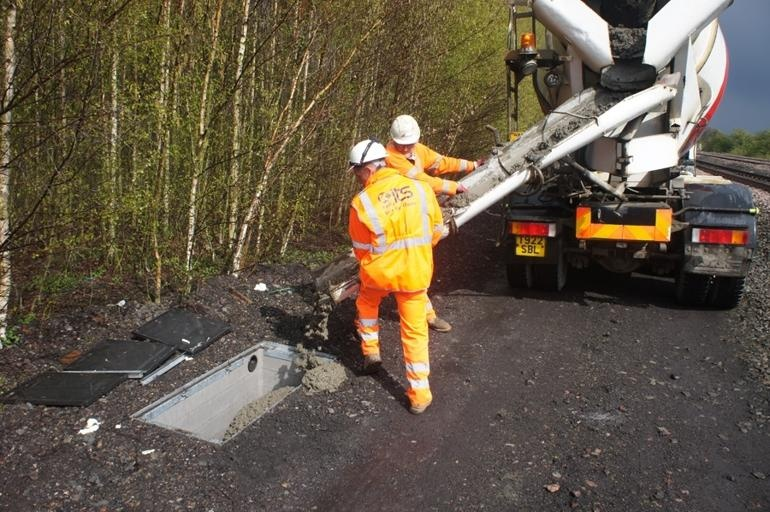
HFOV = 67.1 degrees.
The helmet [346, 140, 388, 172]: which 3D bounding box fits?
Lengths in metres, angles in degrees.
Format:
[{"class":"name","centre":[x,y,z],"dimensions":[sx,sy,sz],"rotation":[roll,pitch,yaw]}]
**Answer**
[{"class":"helmet","centre":[-0.200,-1.099,6.197],"dimensions":[0.356,0.226,0.264],"rotation":[-13,22,1]}]

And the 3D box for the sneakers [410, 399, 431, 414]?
[{"class":"sneakers","centre":[0.368,1.586,6.103],"dimensions":[0.176,0.170,0.139],"rotation":[12,-8,-12]}]

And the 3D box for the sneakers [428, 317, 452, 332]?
[{"class":"sneakers","centre":[0.707,0.895,7.527],"dimensions":[0.186,0.123,0.278],"rotation":[-20,13,-40]}]

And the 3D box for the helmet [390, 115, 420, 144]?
[{"class":"helmet","centre":[0.208,-1.526,6.849],"dimensions":[0.264,0.186,0.366],"rotation":[-14,54,-3]}]

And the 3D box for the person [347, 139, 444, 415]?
[{"class":"person","centre":[0.126,0.177,6.207],"dimensions":[1.021,2.753,0.690],"rotation":[11,22,39]}]

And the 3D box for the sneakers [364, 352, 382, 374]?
[{"class":"sneakers","centre":[-0.157,1.213,6.520],"dimensions":[0.160,0.236,0.226],"rotation":[2,20,-4]}]
